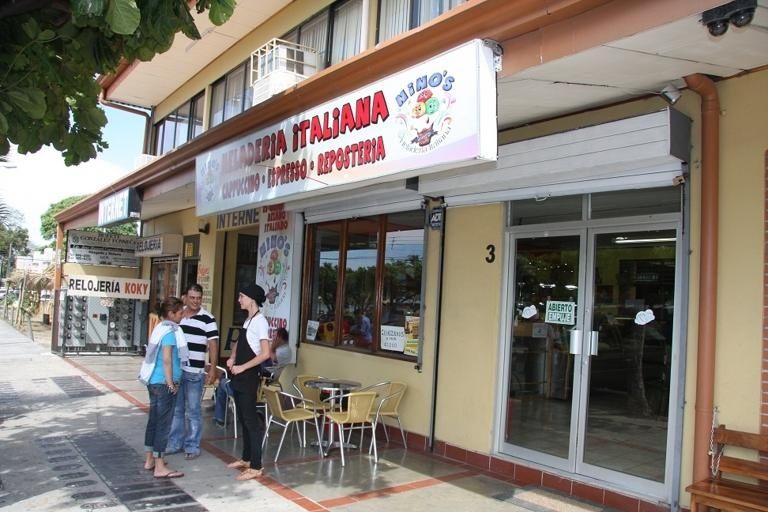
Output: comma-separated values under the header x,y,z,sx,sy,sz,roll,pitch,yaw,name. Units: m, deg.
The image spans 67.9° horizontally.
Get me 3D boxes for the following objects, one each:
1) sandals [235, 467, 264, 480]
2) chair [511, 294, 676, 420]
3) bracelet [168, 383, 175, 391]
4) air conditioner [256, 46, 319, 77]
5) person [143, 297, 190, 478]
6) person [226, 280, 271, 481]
x,y,z,sx,sy,sz,roll,pitch,yaw,name
-1.744,2.838,7.409,0.266,0.104,0.154,4,-7,-13,sandals
2.514,1.161,6.860,1.732,0.777,0.978,2,-3,-32,chair
-2.723,1.687,7.255,0.084,0.082,0.043,3,-1,-34,bracelet
-1.873,-3.714,10.990,0.918,0.555,1.003,4,-2,-37,air conditioner
-2.852,1.696,7.305,0.353,2.134,0.485,1,-2,42,person
-1.784,1.652,7.526,0.508,2.133,0.446,3,-1,-1,person
